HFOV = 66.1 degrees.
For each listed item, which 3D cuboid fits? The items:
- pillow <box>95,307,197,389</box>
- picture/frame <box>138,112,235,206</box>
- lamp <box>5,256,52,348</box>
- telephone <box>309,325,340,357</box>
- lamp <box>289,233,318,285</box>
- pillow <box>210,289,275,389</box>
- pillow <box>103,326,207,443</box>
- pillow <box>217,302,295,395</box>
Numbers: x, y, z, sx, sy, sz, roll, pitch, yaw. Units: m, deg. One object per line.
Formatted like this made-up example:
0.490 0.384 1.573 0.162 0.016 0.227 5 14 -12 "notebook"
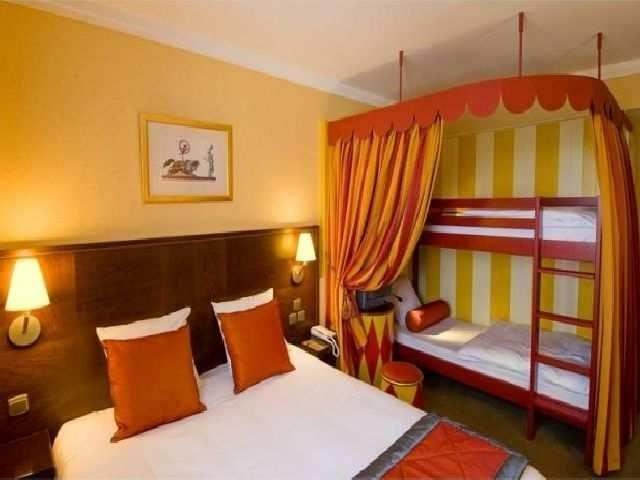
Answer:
-1.447 0.827 4.081 0.735 0.215 0.815 -17 -21 -20 "pillow"
-1.163 -0.681 4.169 0.033 0.722 0.775 -1 1 45 "picture/frame"
-2.072 0.457 3.485 0.279 0.658 0.193 -5 6 -32 "lamp"
0.047 0.995 4.934 0.289 0.098 0.227 29 12 24 "telephone"
-0.105 0.189 4.913 0.231 0.520 0.383 1 6 33 "lamp"
-0.682 0.811 4.344 0.172 0.603 0.604 -15 -6 29 "pillow"
-1.254 1.094 3.638 0.613 0.706 0.226 -7 -19 -39 "pillow"
-0.483 0.903 3.979 0.613 0.634 0.187 -8 -7 -37 "pillow"
